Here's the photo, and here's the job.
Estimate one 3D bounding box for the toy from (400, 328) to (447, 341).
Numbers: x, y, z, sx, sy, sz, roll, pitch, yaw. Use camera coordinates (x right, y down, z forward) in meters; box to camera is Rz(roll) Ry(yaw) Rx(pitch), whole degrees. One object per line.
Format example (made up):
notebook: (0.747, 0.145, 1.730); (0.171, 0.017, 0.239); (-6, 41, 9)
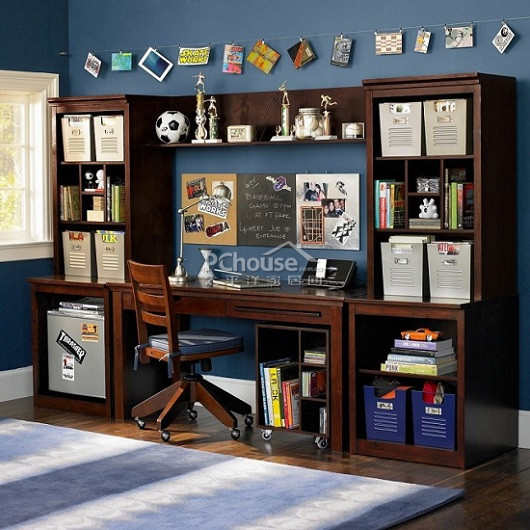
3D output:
toy: (0.726, 0.326, 2.504); (0.136, 0.042, 0.086); (0, 2, 27)

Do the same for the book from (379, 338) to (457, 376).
book: (0.722, 0.424, 2.530); (0.336, 0.167, 0.200); (1, 3, 21)

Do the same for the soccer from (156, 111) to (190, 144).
soccer: (-0.614, -0.873, 3.573); (0.206, 0.232, 0.226); (2, -2, -27)
